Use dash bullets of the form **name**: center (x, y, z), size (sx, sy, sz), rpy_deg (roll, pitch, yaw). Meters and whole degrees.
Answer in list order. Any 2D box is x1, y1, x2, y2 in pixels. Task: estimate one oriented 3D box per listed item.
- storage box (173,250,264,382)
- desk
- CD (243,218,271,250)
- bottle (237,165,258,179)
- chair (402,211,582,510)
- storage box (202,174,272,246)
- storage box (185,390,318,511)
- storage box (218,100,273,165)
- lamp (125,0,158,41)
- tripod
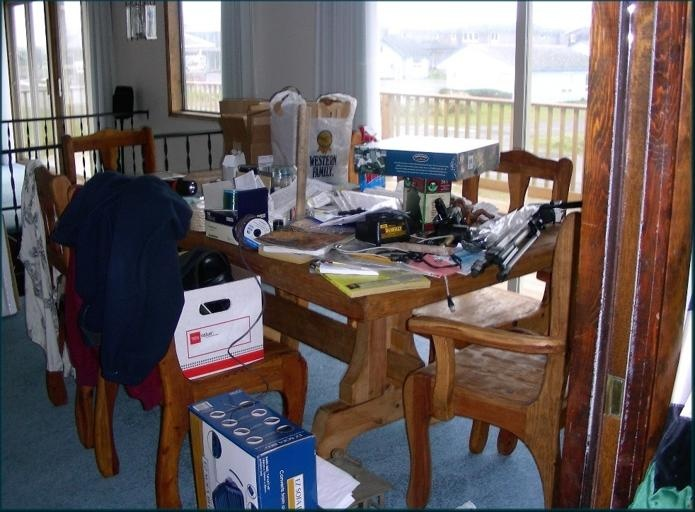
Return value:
- **storage box**: center (-0.419, 0.177, 1.836), size (0.276, 0.376, 0.243), rpy_deg (-4, 16, -10)
- **desk**: center (0.071, 0.220, 1.864), size (0.535, 0.503, 0.983), rpy_deg (-9, 17, -34)
- **CD**: center (-0.308, -0.076, 1.881), size (0.097, 0.105, 0.035), rpy_deg (-12, 13, -44)
- **bottle**: center (-0.435, -0.374, 2.411), size (0.094, 0.084, 0.096), rpy_deg (-2, 12, -15)
- **chair**: center (0.433, 0.358, 1.752), size (0.486, 1.056, 0.358), rpy_deg (5, 16, 22)
- **storage box**: center (-0.401, -0.155, 1.995), size (0.248, 0.195, 0.154), rpy_deg (13, 18, 36)
- **storage box**: center (-0.281, 0.568, 1.601), size (0.193, 0.370, 0.348), rpy_deg (-15, 24, -41)
- **storage box**: center (-0.559, -0.703, 3.245), size (0.294, 0.426, 0.379), rpy_deg (-11, 18, -42)
- **lamp**: center (-1.212, -1.381, 3.262), size (0.164, 0.193, 0.248), rpy_deg (-7, 17, -20)
- **tripod**: center (0.525, -0.046, 1.728), size (0.312, 0.112, 0.125), rpy_deg (-36, 27, -12)
